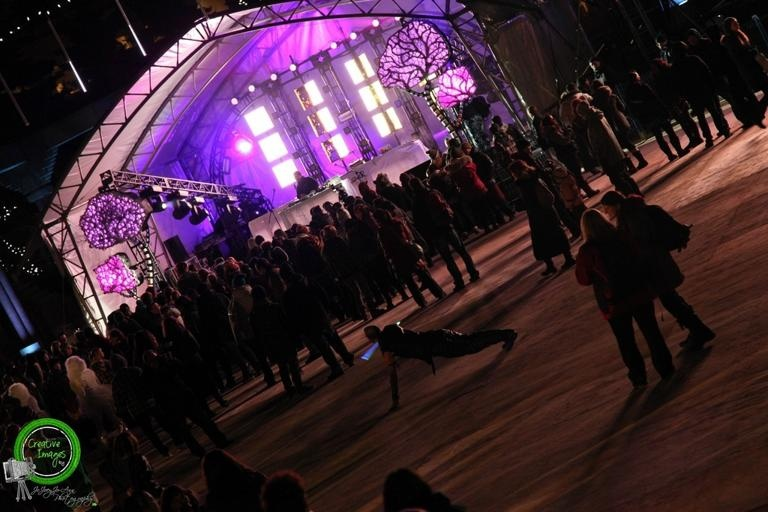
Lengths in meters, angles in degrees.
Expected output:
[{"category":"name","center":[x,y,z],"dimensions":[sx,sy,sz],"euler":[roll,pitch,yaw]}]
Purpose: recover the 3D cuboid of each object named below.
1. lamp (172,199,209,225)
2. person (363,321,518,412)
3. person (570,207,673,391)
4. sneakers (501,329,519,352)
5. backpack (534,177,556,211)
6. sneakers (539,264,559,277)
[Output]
[{"category":"lamp","center":[-8.917,-2.034,28.838],"dimensions":[0.396,0.884,0.964],"euler":[-26,-20,29]},{"category":"person","center":[0.846,1.638,9.721],"dimensions":[1.761,0.647,1.414],"euler":[-2,23,13]},{"category":"person","center":[2.798,0.480,7.574],"dimensions":[0.723,2.170,0.285],"euler":[-26,2,17]},{"category":"sneakers","center":[1.839,1.207,9.439],"dimensions":[0.189,0.362,0.241],"euler":[14,7,27]},{"category":"backpack","center":[2.945,-1.159,11.826],"dimensions":[0.206,0.590,0.348],"euler":[-25,4,39]},{"category":"sneakers","center":[3.036,0.234,11.780],"dimensions":[0.379,0.293,0.146],"euler":[5,18,37]}]
